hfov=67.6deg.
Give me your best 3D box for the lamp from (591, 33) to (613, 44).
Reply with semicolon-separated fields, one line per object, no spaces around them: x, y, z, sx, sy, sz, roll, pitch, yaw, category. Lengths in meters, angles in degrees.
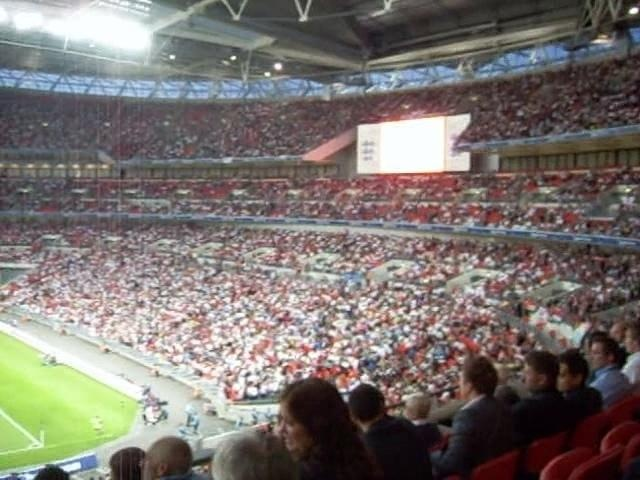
7.793;-5.595;13.261;0.520;0.178;0.684;1;2;30;lamp
